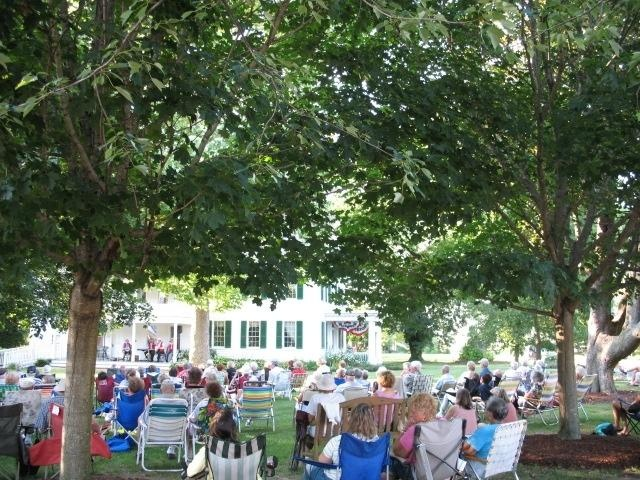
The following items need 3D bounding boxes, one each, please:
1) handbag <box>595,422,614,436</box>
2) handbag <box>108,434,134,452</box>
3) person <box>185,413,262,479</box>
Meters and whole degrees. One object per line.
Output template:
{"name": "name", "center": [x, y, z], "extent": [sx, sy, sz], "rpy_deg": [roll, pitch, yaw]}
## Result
{"name": "handbag", "center": [5.711, 3.746, 15.049], "extent": [0.266, 0.113, 0.221], "rpy_deg": [-1, 7, -6]}
{"name": "handbag", "center": [-3.746, 3.783, 14.136], "extent": [0.356, 0.164, 0.491], "rpy_deg": [5, -2, -6]}
{"name": "person", "center": [-1.353, 2.648, 9.823], "extent": [0.763, 1.239, 0.877], "rpy_deg": [5, -16, -9]}
